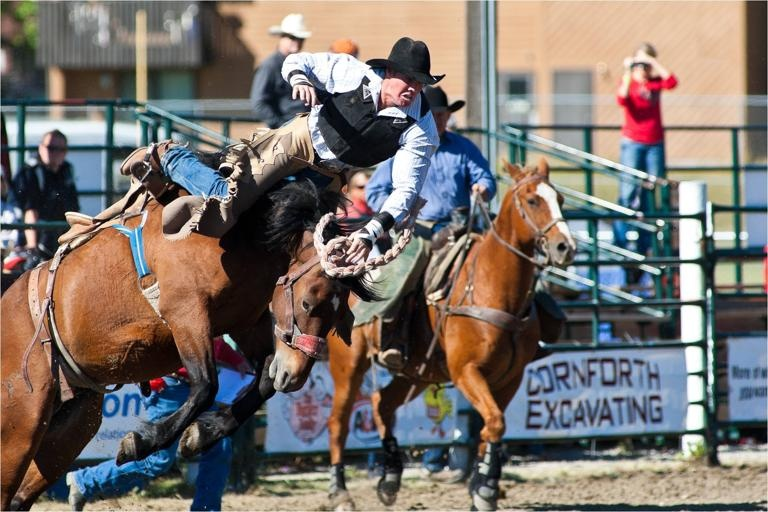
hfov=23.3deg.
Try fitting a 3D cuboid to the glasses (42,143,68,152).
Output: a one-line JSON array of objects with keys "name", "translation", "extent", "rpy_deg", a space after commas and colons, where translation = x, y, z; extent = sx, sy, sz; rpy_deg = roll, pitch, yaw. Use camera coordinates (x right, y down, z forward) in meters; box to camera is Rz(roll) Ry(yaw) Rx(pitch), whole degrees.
[{"name": "glasses", "translation": [-4.774, -1.561, 27.006], "extent": [0.326, 0.111, 0.152], "rpy_deg": [0, 2, -8]}]

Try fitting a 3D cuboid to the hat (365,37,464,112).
[{"name": "hat", "translation": [0.135, -2.438, 23.602], "extent": [0.803, 0.468, 1.149], "rpy_deg": [18, -1, -35]}]

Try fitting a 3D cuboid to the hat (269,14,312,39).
[{"name": "hat", "translation": [-1.434, -3.423, 27.972], "extent": [0.632, 0.319, 0.753], "rpy_deg": [5, 1, -7]}]

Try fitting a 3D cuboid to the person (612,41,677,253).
[{"name": "person", "translation": [3.900, -1.615, 27.978], "extent": [0.798, 3.214, 1.007], "rpy_deg": [1, 2, 4]}]
